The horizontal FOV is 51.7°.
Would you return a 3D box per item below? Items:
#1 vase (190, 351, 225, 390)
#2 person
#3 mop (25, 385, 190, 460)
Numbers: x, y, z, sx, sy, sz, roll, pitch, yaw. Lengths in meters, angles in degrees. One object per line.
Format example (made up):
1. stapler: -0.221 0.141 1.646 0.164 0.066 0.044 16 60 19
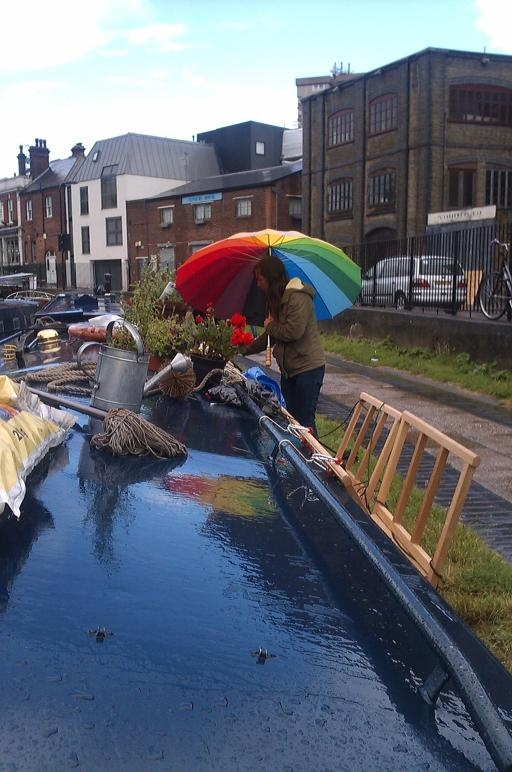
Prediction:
1. vase: -0.425 -0.159 4.653 0.242 0.248 0.297 1 -1 -2
2. person: 0.325 -0.426 5.404 0.760 1.789 1.086 7 6 8
3. mop: -0.832 0.146 2.631 0.892 0.156 0.447 22 4 -18
